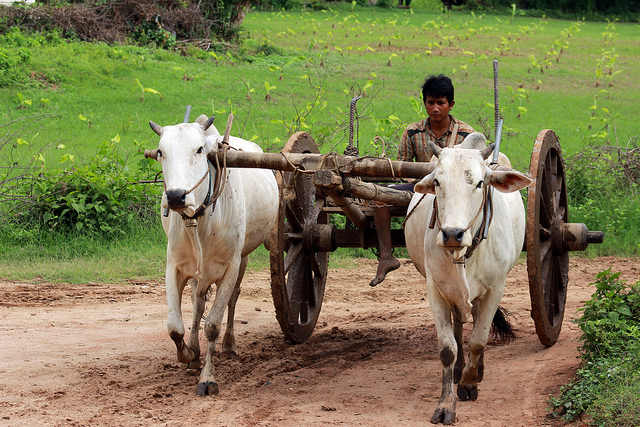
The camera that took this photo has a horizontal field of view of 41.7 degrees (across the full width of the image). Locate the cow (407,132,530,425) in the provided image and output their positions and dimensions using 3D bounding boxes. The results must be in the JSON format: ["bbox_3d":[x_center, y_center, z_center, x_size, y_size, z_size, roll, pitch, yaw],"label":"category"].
[{"bbox_3d":[2.142,0.822,12.239,1.689,3.939,1.666,-4,9,-11],"label":"cow"}]

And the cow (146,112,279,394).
[{"bbox_3d":[-1.548,0.529,12.691,1.621,3.989,2.016,-3,8,-2],"label":"cow"}]
